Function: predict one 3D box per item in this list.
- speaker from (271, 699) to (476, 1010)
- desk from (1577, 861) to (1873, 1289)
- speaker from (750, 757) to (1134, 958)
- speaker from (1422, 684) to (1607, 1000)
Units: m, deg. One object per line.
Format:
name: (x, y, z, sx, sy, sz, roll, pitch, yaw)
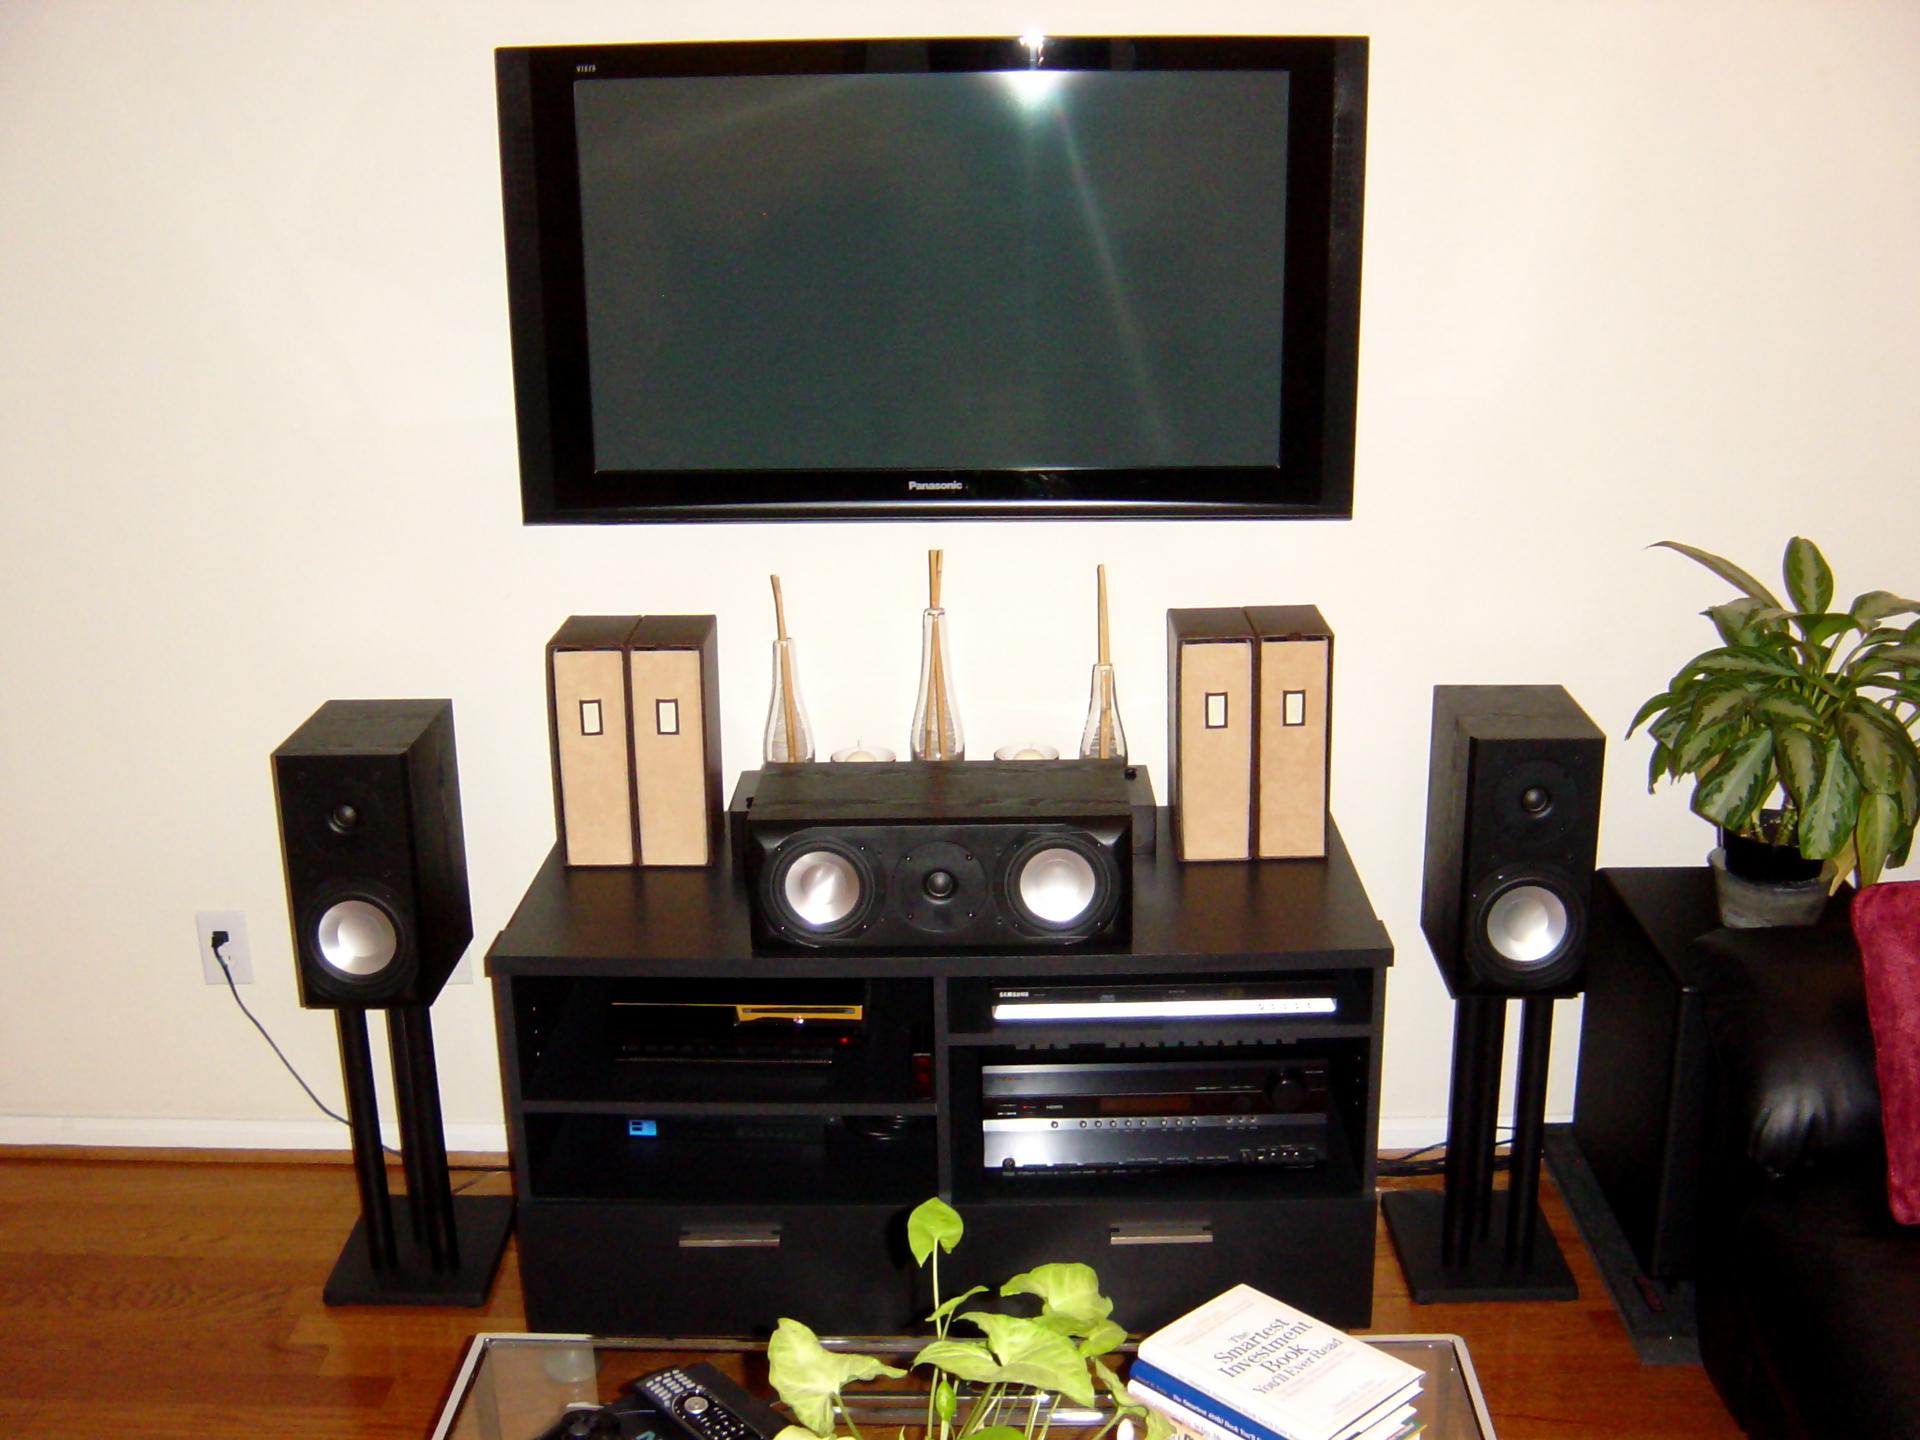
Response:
speaker: (-0.968, 0.228, 2.957, 0.257, 0.483, 0.328, -5, 10, -11)
desk: (1.195, 0.551, 2.767, 0.306, 0.522, 0.502, -2, 34, 7)
speaker: (-0.031, 0.215, 2.852, 0.596, 0.275, 0.262, -4, 10, 0)
speaker: (0.901, 0.198, 2.937, 0.233, 0.473, 0.332, -2, 10, 8)
